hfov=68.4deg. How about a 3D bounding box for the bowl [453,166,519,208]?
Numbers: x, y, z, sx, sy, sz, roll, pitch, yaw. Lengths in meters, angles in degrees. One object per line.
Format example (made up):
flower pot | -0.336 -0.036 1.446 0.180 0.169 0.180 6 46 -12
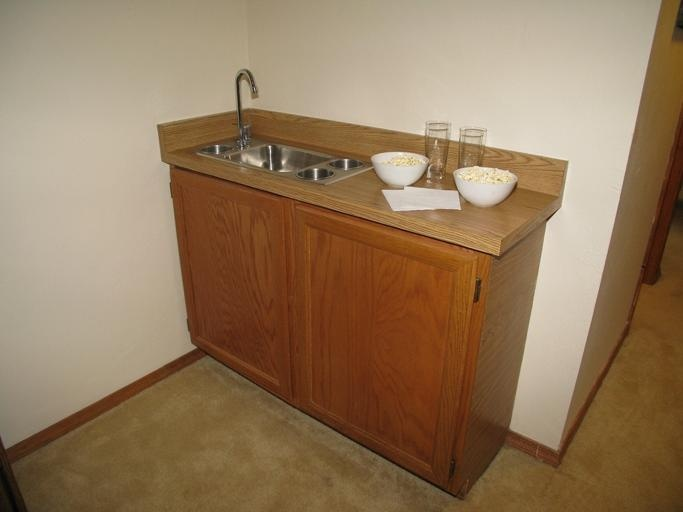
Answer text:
bowl | 0.508 -0.265 1.799 0.163 0.101 0.171 -1 30 0

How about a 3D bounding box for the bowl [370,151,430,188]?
bowl | 0.222 -0.350 1.964 0.170 0.087 0.178 -1 31 1

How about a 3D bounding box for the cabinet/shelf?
cabinet/shelf | 0.107 0.307 2.016 1.157 0.738 0.378 17 28 31

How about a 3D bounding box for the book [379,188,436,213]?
book | 0.237 -0.208 1.845 0.161 0.013 0.211 -4 28 -8
